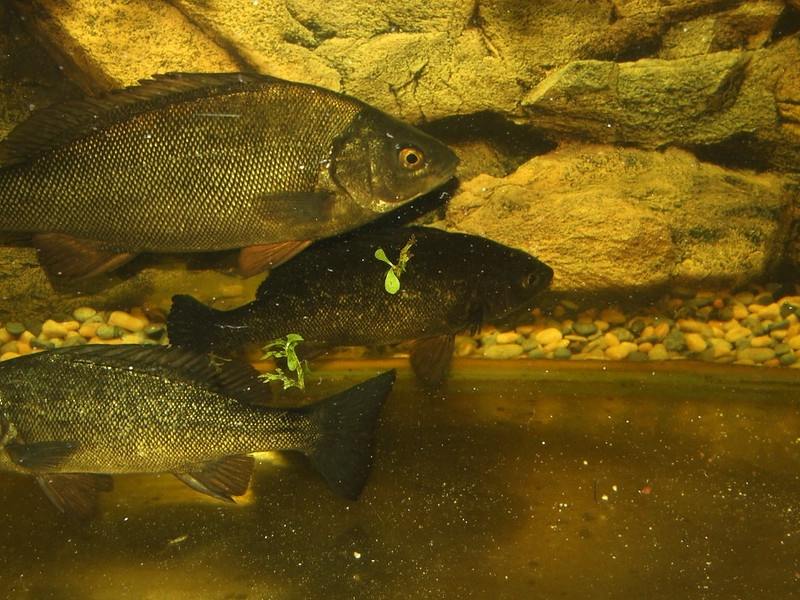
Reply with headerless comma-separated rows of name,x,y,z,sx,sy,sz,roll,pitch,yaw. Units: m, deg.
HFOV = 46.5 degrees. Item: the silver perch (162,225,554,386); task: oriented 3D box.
silver perch,-0.266,-0.006,4.570,1.963,0.756,0.402,-6,24,-4
